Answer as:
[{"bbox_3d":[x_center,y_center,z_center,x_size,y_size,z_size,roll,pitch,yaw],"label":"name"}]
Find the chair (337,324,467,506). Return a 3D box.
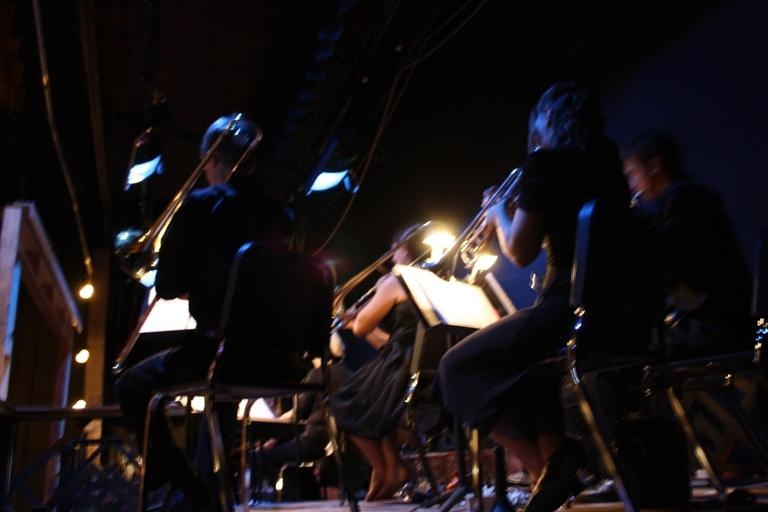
[{"bbox_3d":[0.141,1.142,5.018,0.675,1.544,0.554,9,-47,12],"label":"chair"}]

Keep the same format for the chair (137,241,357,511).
[{"bbox_3d":[-0.771,0.743,4.098,0.905,1.600,0.986,5,-10,-28],"label":"chair"}]
